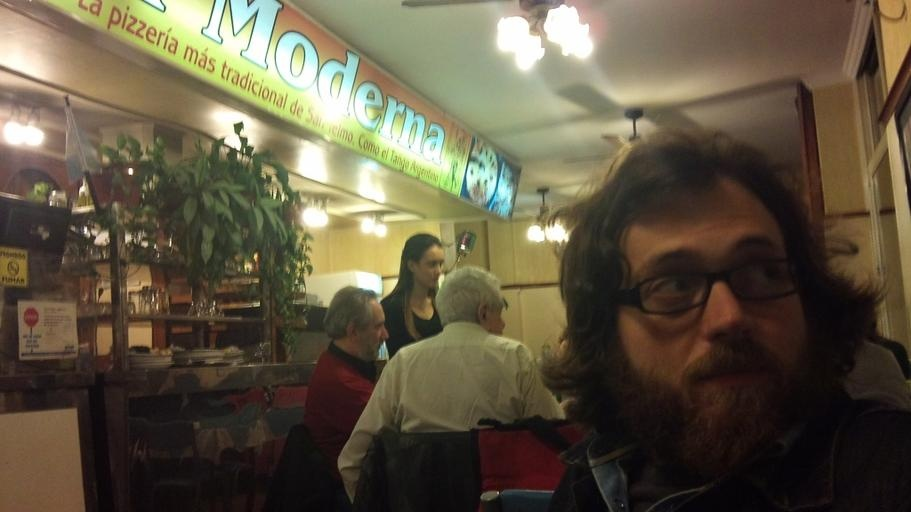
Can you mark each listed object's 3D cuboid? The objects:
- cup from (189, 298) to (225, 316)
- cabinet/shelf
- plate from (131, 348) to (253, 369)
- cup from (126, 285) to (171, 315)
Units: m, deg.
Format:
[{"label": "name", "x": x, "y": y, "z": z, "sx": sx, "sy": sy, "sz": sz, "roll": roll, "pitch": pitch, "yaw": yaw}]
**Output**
[{"label": "cup", "x": -1.802, "y": 0.383, "z": 5.111, "sx": 0.170, "sy": 0.134, "sz": 0.165, "roll": 0, "pitch": -1, "yaw": 0}, {"label": "cabinet/shelf", "x": -2.107, "y": 0.405, "z": 5.229, "sx": 1.308, "sy": 0.669, "sz": 0.820, "roll": 5, "pitch": 3, "yaw": 28}, {"label": "plate", "x": -1.784, "y": 0.695, "z": 4.802, "sx": 0.240, "sy": 0.115, "sz": 0.900, "roll": -4, "pitch": -8, "yaw": 22}, {"label": "cup", "x": -2.076, "y": 0.300, "z": 4.778, "sx": 0.270, "sy": 0.184, "sz": 0.217, "roll": 3, "pitch": -8, "yaw": -33}]
